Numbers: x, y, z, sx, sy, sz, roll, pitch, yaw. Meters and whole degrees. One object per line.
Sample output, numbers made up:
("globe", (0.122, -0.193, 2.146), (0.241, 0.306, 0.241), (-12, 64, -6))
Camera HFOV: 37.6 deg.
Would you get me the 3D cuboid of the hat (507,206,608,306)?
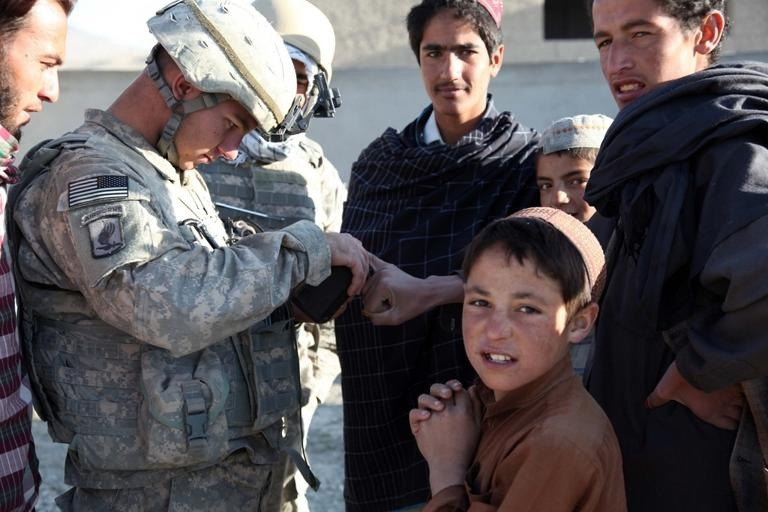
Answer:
("hat", (0.745, -0.029, 4.426), (0.317, 0.383, 0.139), (-2, 10, 24))
